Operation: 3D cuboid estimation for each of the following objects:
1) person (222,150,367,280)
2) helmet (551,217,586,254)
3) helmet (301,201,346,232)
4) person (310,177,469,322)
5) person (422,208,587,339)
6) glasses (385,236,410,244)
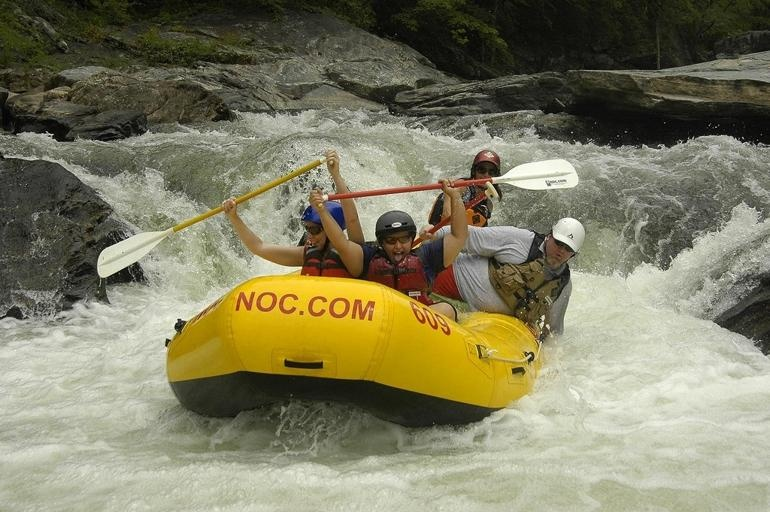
[{"bbox_3d":[-1.189,-0.482,8.319,1.067,0.970,1.590,-28,59,-3],"label":"person"},{"bbox_3d":[1.935,-0.267,7.067,0.372,0.269,0.516,31,13,-1],"label":"helmet"},{"bbox_3d":[-0.607,-0.422,6.777,0.377,0.277,0.311,-10,56,37],"label":"helmet"},{"bbox_3d":[0.054,0.079,6.582,1.557,0.909,1.444,-2,74,8],"label":"person"},{"bbox_3d":[1.168,0.207,7.268,0.621,1.389,1.372,-56,27,-17],"label":"person"},{"bbox_3d":[0.122,-0.163,6.463,0.235,0.068,0.036,-8,22,-7],"label":"glasses"}]
